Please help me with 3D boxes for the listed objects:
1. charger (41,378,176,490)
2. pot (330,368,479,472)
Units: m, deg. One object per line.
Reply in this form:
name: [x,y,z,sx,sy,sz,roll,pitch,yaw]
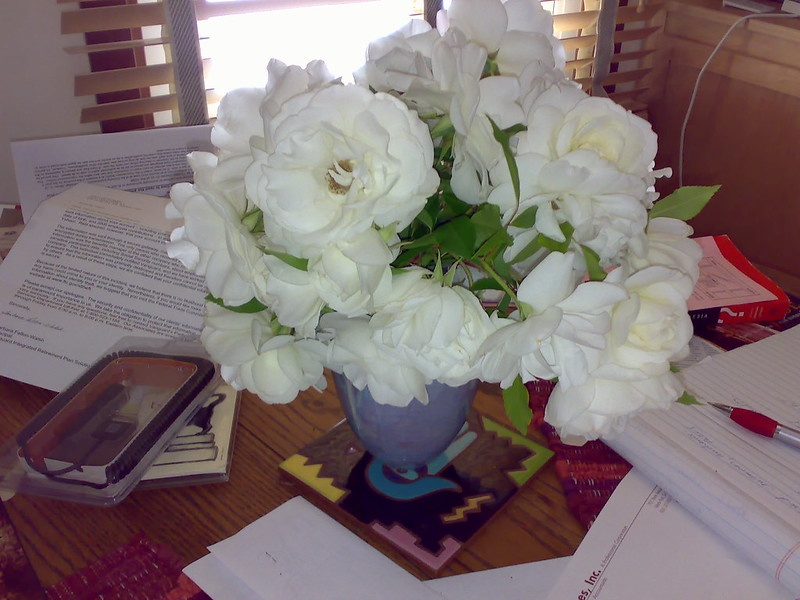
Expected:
charger: [-0.339,0.149,0.662,0.076,0.027,0.113,15,50,13]
pot: [-0.002,0.112,0.607,0.111,0.095,0.109,2,6,0]
